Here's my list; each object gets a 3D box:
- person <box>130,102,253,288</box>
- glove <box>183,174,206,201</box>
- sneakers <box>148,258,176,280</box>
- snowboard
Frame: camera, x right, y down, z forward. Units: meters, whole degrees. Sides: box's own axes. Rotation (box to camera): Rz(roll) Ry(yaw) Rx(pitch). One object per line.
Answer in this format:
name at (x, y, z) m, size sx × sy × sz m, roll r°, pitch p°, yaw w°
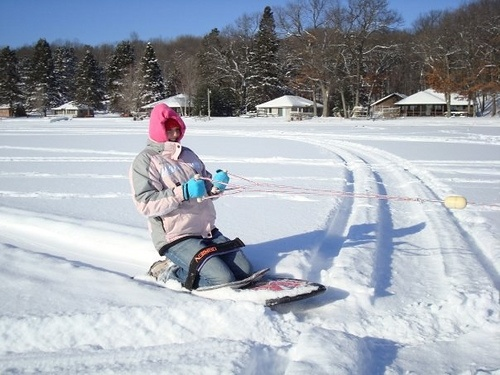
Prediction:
person at (-0.615, 0.046, 4.505) m, size 1.173 × 1.711 × 0.769 m, roll 6°, pitch 14°, yaw 20°
glove at (-0.528, 0.004, 4.333) m, size 0.234 × 0.229 × 0.184 m, roll -8°, pitch 7°, yaw 19°
sneakers at (-0.895, 0.824, 4.553) m, size 0.269 × 0.169 × 0.127 m, roll -3°, pitch -30°, yaw 38°
snowboard at (-0.171, 0.926, 4.206) m, size 1.709 × 0.253 × 0.517 m, roll 0°, pitch 0°, yaw 11°
